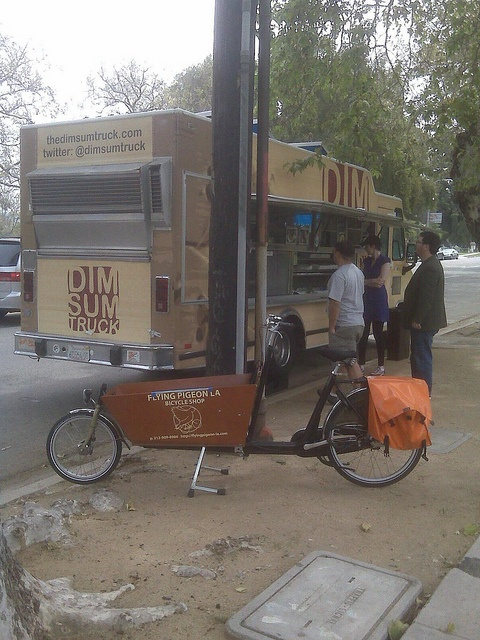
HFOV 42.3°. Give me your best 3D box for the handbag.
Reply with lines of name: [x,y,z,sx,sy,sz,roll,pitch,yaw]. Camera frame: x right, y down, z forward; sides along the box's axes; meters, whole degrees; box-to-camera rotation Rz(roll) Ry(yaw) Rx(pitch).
handbag: [1.025,0.602,4.011,0.400,0.444,0.282,-1,4,3]

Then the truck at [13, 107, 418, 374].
truck: [-0.091,-0.892,7.964,2.524,2.691,4.829,6,10,38]

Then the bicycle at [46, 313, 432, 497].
bicycle: [0.061,0.522,4.596,2.812,1.576,1.069,1,-1,-1]
